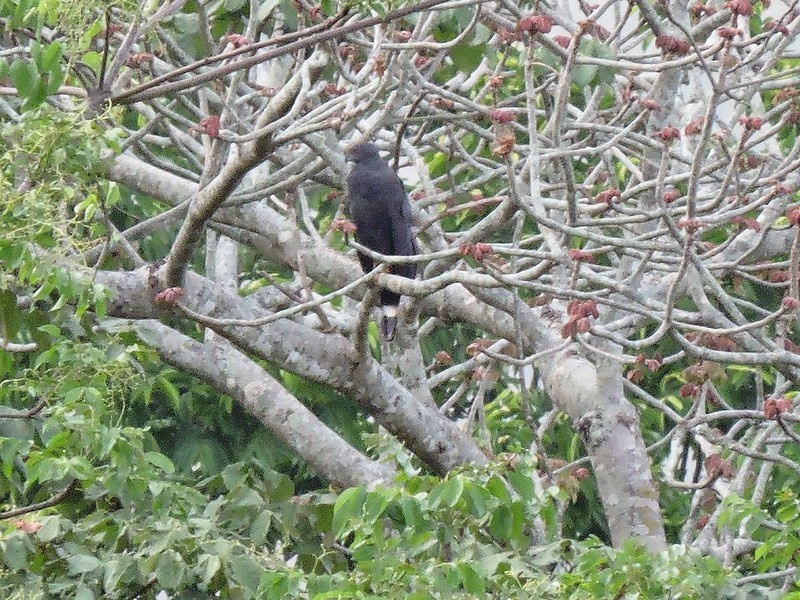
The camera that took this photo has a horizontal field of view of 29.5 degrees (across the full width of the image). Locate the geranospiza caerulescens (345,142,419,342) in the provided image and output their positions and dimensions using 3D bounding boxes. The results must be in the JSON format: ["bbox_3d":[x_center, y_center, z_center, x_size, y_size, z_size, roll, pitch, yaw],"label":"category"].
[{"bbox_3d":[-0.041,-0.276,8.040,0.360,1.041,0.580,-4,22,-24],"label":"geranospiza caerulescens"}]
